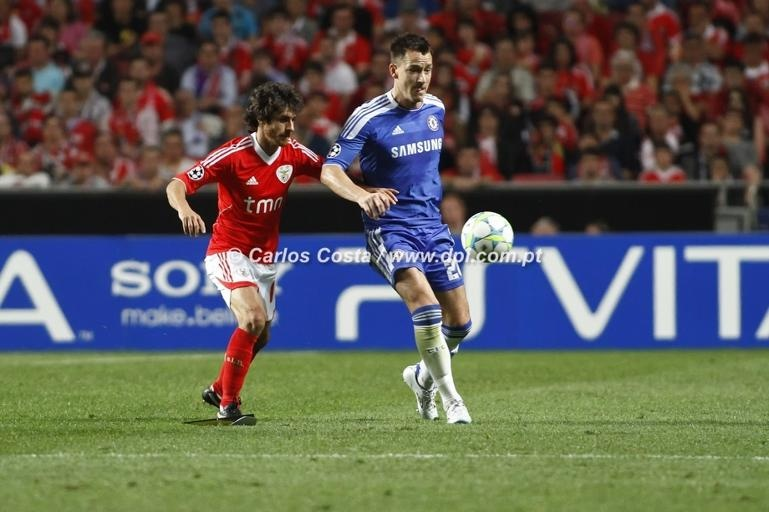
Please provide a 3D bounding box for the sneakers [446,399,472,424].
[{"bbox_3d":[0.616,1.324,11.271,0.236,0.209,0.153,-1,1,0],"label":"sneakers"}]

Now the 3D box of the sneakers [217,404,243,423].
[{"bbox_3d":[-1.329,1.340,11.327,0.219,0.148,0.235,-1,1,-8],"label":"sneakers"}]

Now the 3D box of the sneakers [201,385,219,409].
[{"bbox_3d":[-1.541,1.259,11.659,0.086,0.215,0.107,-34,30,-2],"label":"sneakers"}]
